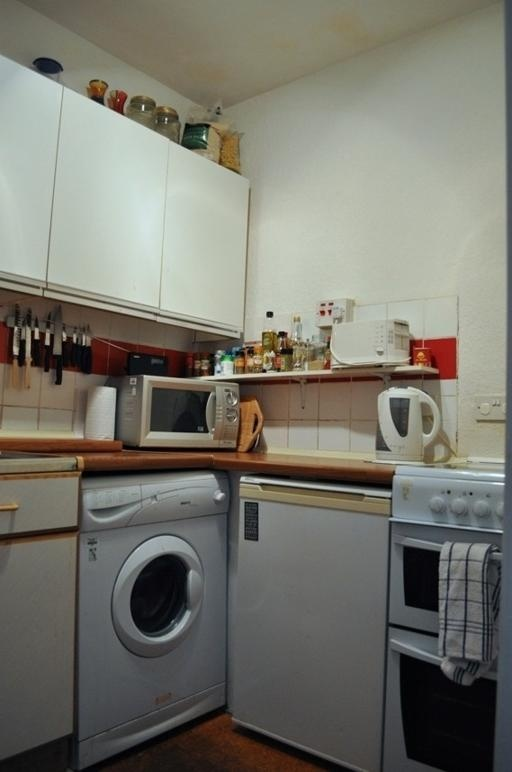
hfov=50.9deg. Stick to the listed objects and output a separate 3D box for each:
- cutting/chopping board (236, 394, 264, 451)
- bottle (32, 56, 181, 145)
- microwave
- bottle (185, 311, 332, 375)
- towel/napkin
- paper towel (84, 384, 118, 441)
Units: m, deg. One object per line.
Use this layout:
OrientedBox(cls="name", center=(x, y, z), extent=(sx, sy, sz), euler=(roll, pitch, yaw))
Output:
OrientedBox(cls="cutting/chopping board", center=(-0.029, 0.181, 2.451), extent=(0.197, 0.259, 0.025), euler=(-13, -23, 39))
OrientedBox(cls="bottle", center=(-0.608, -1.154, 2.332), extent=(0.283, 0.272, 0.542), euler=(8, 7, 36))
OrientedBox(cls="microwave", center=(-0.341, 0.075, 2.227), extent=(0.419, 0.326, 0.344), euler=(4, 0, -43))
OrientedBox(cls="bottle", center=(0.044, -0.153, 2.466), extent=(0.544, 0.319, 0.258), euler=(4, 2, 27))
OrientedBox(cls="towel/napkin", center=(0.453, 0.466, 1.155), extent=(0.124, 0.244, 0.103), euler=(4, 4, 27))
OrientedBox(cls="paper towel", center=(-0.603, 0.108, 2.093), extent=(0.109, 0.198, 0.081), euler=(1, 3, -18))
